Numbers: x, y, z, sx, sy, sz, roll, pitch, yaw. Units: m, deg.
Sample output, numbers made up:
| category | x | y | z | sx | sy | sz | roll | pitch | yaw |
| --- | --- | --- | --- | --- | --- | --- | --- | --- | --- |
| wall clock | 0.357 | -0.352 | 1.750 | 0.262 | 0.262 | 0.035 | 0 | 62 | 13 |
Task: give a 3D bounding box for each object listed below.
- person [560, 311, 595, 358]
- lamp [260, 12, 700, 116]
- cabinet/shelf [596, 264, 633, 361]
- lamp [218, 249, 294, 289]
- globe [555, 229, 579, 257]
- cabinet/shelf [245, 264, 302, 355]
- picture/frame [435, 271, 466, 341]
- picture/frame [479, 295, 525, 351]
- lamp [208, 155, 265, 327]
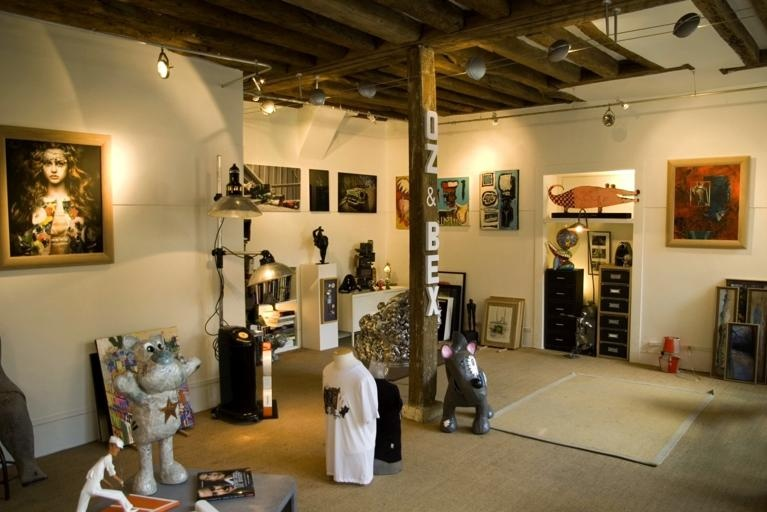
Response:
| category | x | y | z | sx | sy | sz | roll | pitch | yaw |
| --- | --- | --- | --- | --- | --- | --- | --- | --- | --- |
| person | 3.396 | 1.303 | 9.490 | 0.535 | 0.784 | 0.254 | -6 | 14 | -24 |
| lamp | 0.349 | -2.585 | 7.851 | 5.433 | 0.952 | 1.795 | 4 | 13 | 21 |
| cabinet/shelf | 3.929 | 0.989 | 9.513 | 0.556 | 1.518 | 0.624 | 1 | -7 | 31 |
| lamp | -1.721 | 0.157 | 7.556 | 0.917 | 0.440 | 0.560 | 1 | -1 | 11 |
| globe | 3.207 | -0.247 | 9.730 | 0.323 | 0.518 | 0.461 | 3 | 13 | 16 |
| cabinet/shelf | -1.886 | 0.939 | 9.620 | 0.798 | 1.221 | 0.366 | -4 | -1 | -8 |
| picture/frame | 1.304 | 0.866 | 10.687 | 0.534 | 1.093 | 0.479 | 4 | 13 | 19 |
| picture/frame | 2.189 | 1.246 | 10.111 | 0.932 | 1.157 | 0.199 | 2 | -11 | 32 |
| lamp | -1.958 | -0.043 | 7.297 | 0.758 | 2.244 | 0.655 | 1 | 13 | 7 |
